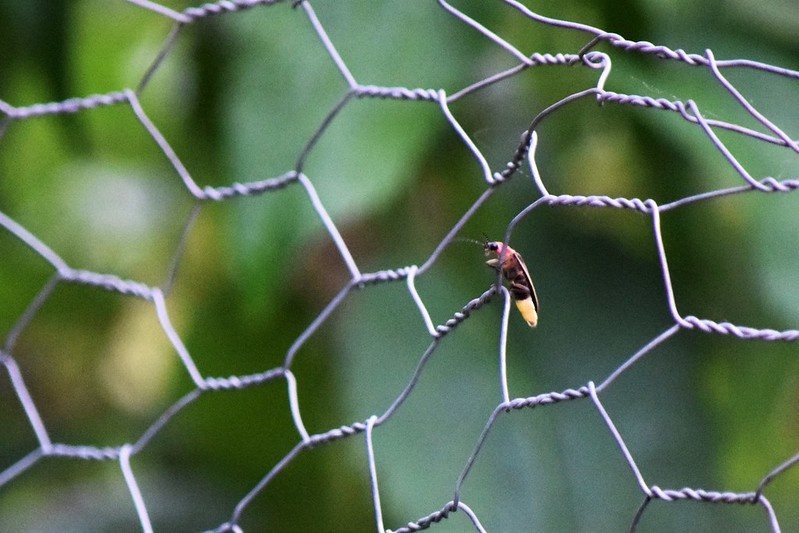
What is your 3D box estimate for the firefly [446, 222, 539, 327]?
[{"bbox_3d":[0.099,-0.001,0.884,0.025,0.054,0.083,-41,-77,9],"label":"firefly"}]
